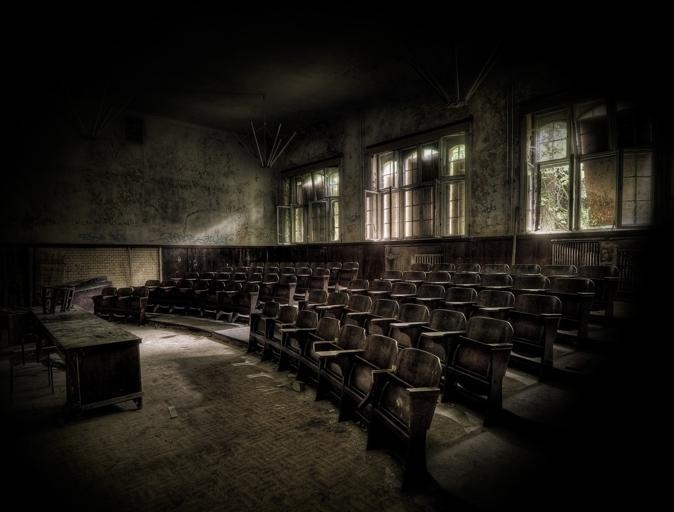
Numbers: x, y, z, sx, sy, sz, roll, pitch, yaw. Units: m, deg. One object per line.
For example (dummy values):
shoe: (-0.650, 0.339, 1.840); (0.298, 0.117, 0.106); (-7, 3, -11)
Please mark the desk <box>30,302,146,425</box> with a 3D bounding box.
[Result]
desk: (-3.110, 1.331, 5.846); (0.840, 0.942, 1.802); (-1, 1, -42)
